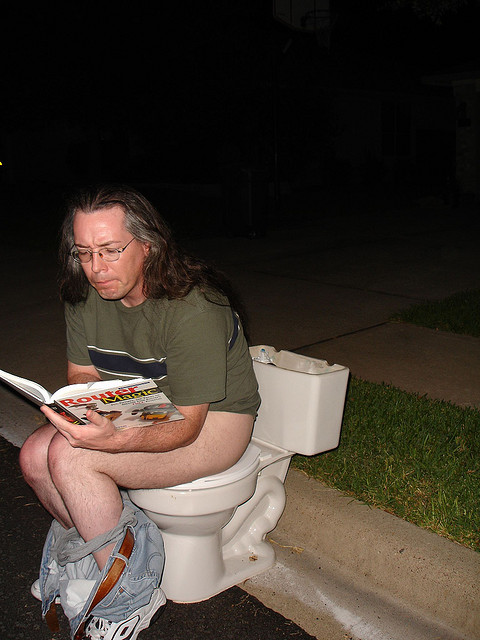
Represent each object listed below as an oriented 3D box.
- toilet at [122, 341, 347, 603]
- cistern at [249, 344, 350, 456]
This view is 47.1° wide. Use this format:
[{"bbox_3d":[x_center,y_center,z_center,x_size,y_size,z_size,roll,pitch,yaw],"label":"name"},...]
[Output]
[{"bbox_3d":[-0.048,0.494,2.266,0.764,0.886,0.806,-3,12,-32],"label":"toilet"},{"bbox_3d":[0.233,0.343,2.225,0.269,0.355,0.512,-19,24,-38],"label":"cistern"}]
